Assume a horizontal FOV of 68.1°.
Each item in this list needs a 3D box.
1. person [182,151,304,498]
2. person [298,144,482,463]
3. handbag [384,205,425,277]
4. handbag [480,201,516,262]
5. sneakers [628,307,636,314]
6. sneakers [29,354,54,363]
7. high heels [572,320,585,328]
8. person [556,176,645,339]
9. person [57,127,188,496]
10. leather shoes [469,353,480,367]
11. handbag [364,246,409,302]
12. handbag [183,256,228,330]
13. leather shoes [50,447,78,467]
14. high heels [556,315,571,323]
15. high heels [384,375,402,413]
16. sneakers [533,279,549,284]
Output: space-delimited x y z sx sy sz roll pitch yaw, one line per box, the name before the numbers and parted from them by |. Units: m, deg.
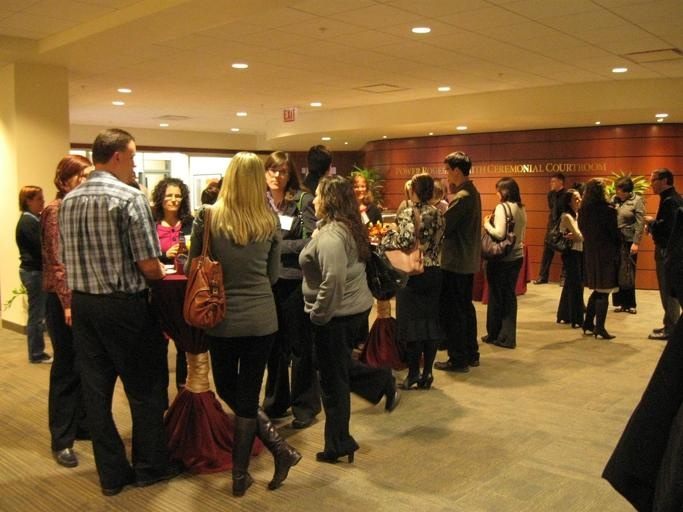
person | -0.591 0.409 2.946 0.550 2.020 0.293 -2 5 -17
person | 0.112 0.401 3.604 0.638 1.908 1.134 1 5 14
handbag | 0.555 -0.116 4.207 0.381 0.531 0.193 -2 8 -44
handbag | 1.770 -0.264 5.731 0.380 0.626 0.245 0 5 1
sneakers | 4.593 0.878 7.986 0.082 0.051 0.134 2 4 11
sneakers | -3.246 1.131 5.486 0.223 0.091 0.121 -1 2 -20
high heels | 3.245 0.960 6.958 0.133 0.126 0.100 0 -1 -39
person | 3.227 0.047 6.439 0.824 2.012 0.874 2 6 20
person | -1.291 0.461 2.961 0.598 1.912 0.316 -2 6 -23
leather shoes | 1.403 1.102 5.323 0.085 0.152 0.161 1 8 2
handbag | 0.317 0.109 3.615 0.183 0.342 0.337 -21 -3 -30
handbag | -0.733 0.204 2.774 0.211 0.452 0.409 2 1 -32
leather shoes | -1.858 1.344 3.404 0.220 0.091 0.087 1 -1 44
high heels | 3.167 0.924 7.256 0.099 0.080 0.132 1 -4 -14
high heels | 0.367 0.985 3.710 0.124 0.105 0.293 25 41 -5
sneakers | 4.281 0.561 10.881 0.343 0.139 0.114 4 -5 -35
